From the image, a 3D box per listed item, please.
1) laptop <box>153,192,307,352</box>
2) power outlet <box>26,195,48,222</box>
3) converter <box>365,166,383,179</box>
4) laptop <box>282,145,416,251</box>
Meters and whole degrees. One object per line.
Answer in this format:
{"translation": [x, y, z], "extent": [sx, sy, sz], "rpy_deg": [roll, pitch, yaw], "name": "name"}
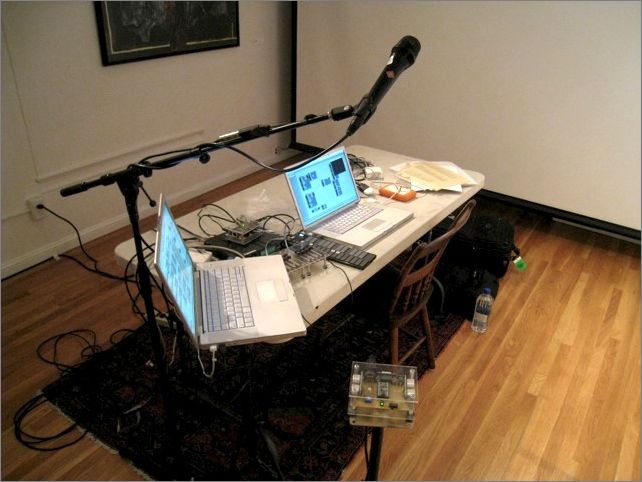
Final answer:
{"translation": [-0.365, 0.073, 1.912], "extent": [0.529, 0.405, 0.580], "rpy_deg": [-13, 33, -18], "name": "laptop"}
{"translation": [-2.016, -0.237, 3.371], "extent": [0.097, 0.185, 0.108], "rpy_deg": [21, 33, 27], "name": "power outlet"}
{"translation": [0.327, -0.432, 2.969], "extent": [0.088, 0.037, 0.089], "rpy_deg": [3, 42, 1], "name": "converter"}
{"translation": [0.137, -0.171, 2.514], "extent": [0.566, 0.355, 0.587], "rpy_deg": [25, 44, 32], "name": "laptop"}
